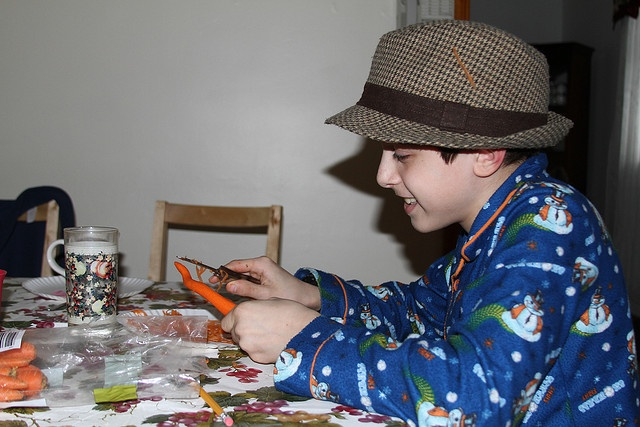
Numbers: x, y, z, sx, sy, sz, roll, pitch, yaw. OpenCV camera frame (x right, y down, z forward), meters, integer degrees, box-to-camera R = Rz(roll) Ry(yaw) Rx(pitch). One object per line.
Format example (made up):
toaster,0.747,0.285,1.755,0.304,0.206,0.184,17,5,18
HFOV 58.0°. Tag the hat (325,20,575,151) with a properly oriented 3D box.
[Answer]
hat,0.286,-0.257,1.311,0.424,0.153,0.308,5,9,-8

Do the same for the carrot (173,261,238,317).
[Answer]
carrot,-0.305,0.166,1.461,0.280,0.061,0.046,21,-30,51
